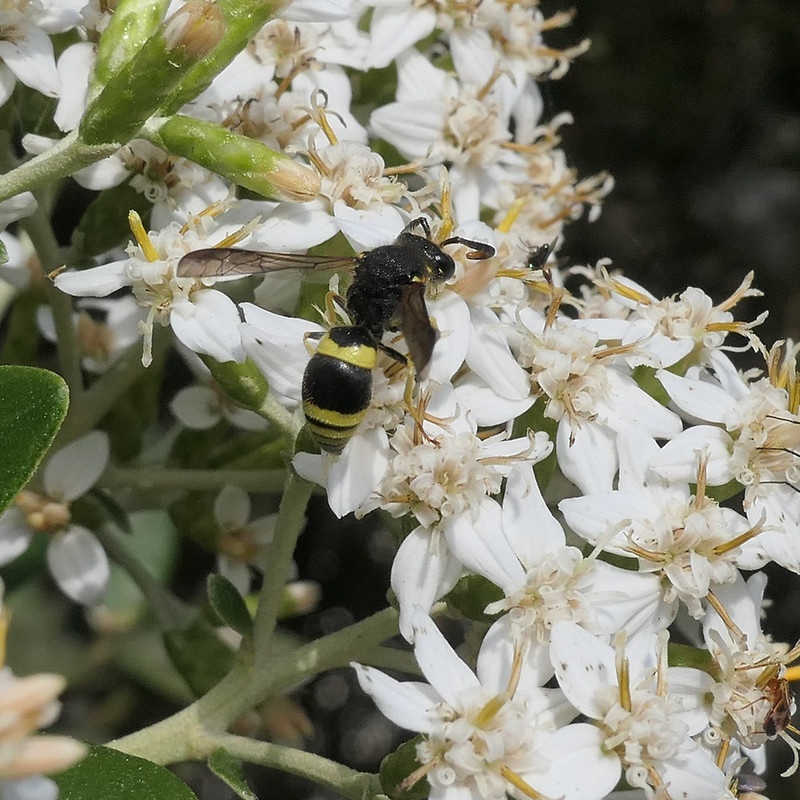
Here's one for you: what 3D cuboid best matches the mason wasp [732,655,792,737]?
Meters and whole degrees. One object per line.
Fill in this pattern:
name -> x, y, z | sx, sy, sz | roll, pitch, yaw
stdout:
mason wasp -> 0.308, 0.248, 1.012 | 0.062, 0.055, 0.020 | 7, -8, -44

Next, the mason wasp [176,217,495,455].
mason wasp -> -0.043, -0.046, 1.019 | 0.245, 0.200, 0.112 | 24, -30, 23
